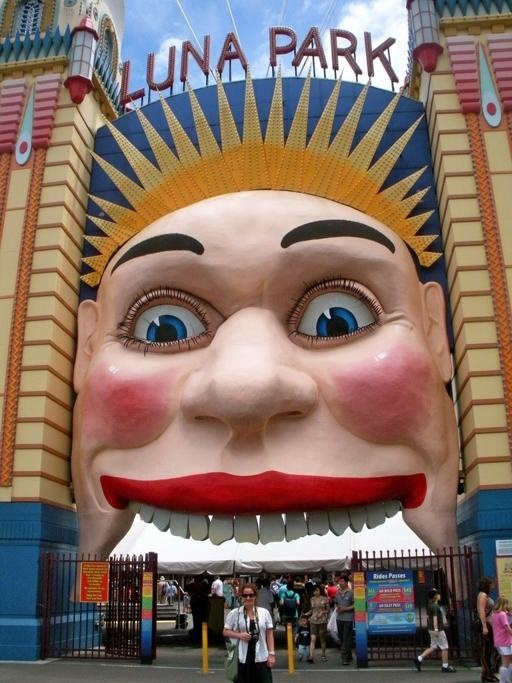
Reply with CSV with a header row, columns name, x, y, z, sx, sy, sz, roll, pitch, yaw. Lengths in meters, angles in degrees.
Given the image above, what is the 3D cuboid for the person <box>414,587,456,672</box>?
name,x,y,z,sx,sy,sz,roll,pitch,yaw
person,1.978,3.249,7.092,0.407,0.826,0.799,-7,-21,13

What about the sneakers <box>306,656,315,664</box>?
name,x,y,z,sx,sy,sz,roll,pitch,yaw
sneakers,0.742,4.362,8.607,0.084,0.103,0.238,0,-32,5

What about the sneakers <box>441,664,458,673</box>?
name,x,y,z,sx,sy,sz,roll,pitch,yaw
sneakers,2.117,3.553,6.869,0.092,0.112,0.260,-8,-21,37

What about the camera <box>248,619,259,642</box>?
name,x,y,z,sx,sy,sz,roll,pitch,yaw
camera,-0.005,1.904,4.140,0.104,0.106,0.110,1,-37,0
